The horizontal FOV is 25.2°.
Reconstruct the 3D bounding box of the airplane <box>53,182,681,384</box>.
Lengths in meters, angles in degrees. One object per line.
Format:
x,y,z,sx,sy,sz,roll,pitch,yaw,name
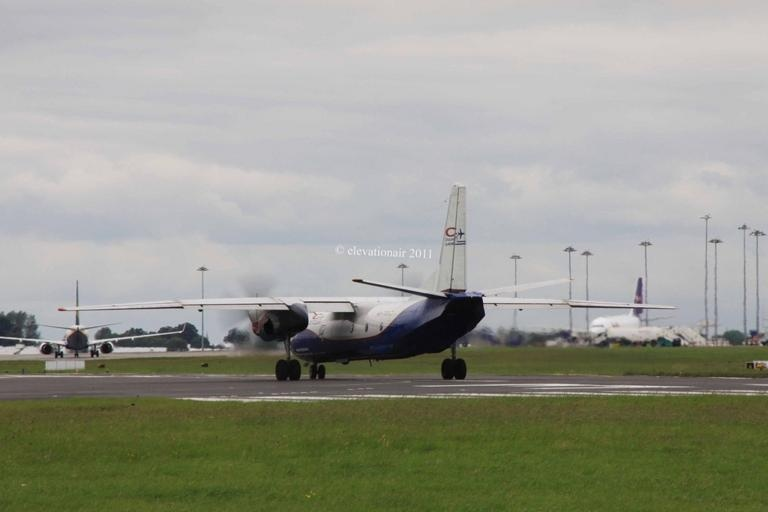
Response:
-0.312,1.146,72.864,13.087,8.136,9.860,1,-4,-5,airplane
